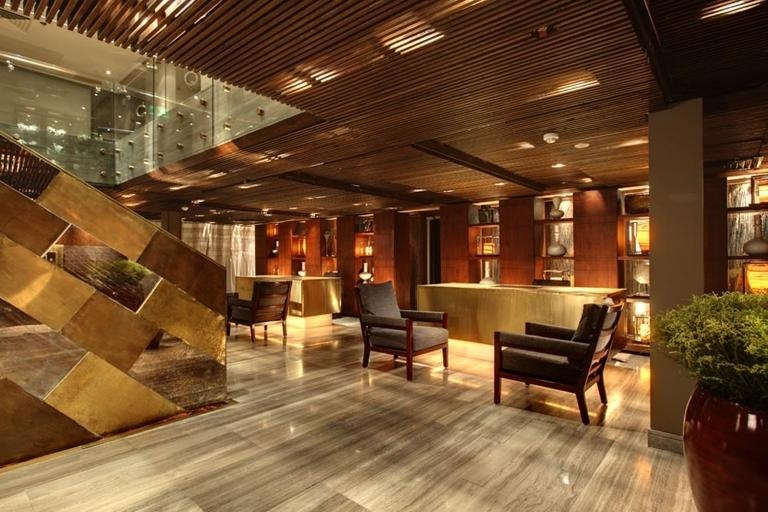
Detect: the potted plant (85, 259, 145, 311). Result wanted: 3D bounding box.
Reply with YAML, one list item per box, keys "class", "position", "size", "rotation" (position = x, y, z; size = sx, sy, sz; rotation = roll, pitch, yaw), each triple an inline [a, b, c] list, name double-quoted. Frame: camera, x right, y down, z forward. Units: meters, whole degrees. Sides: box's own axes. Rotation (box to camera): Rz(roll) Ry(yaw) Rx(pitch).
- class: "potted plant"
  position: [-2.776, 0.301, 4.849]
  size: [0.517, 0.539, 0.178]
  rotation: [-5, 15, -22]

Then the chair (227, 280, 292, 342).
- class: "chair"
  position: [-2.350, 1.019, 8.788]
  size: [1.004, 0.901, 0.920]
  rotation: [-6, -6, 40]

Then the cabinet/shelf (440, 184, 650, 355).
- class: "cabinet/shelf"
  position: [2.750, 0.179, 7.609]
  size: [3.320, 2.223, 1.745]
  rotation: [-3, -7, 45]

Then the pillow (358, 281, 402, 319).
- class: "pillow"
  position: [-0.083, 0.637, 6.847]
  size: [0.652, 0.512, 0.188]
  rotation: [7, -23, -31]

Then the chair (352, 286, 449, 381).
- class: "chair"
  position: [0.249, 1.001, 6.786]
  size: [1.147, 0.980, 0.941]
  rotation: [8, 8, 44]

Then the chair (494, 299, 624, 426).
- class: "chair"
  position: [2.083, 1.149, 5.495]
  size: [1.330, 0.969, 0.946]
  rotation: [-2, -3, 33]
